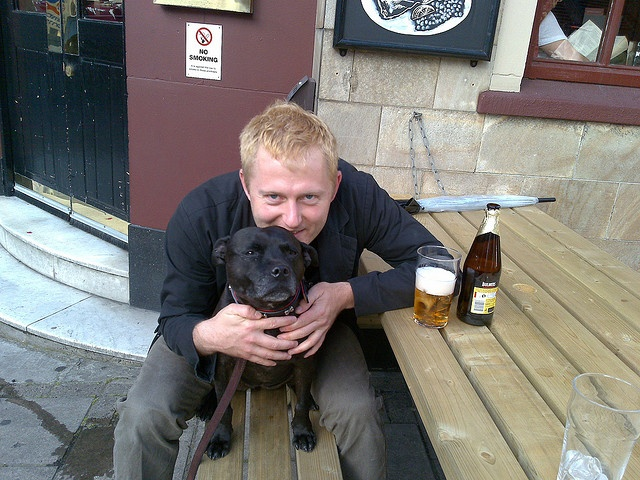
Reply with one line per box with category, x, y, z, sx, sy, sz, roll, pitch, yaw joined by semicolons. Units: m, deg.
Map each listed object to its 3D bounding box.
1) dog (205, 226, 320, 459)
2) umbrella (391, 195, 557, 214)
dog;-0.284;0.433;2.398;0.560;1.043;1.077;3;8;-6
umbrella;1.042;-0.256;3.289;1.168;0.160;0.206;-4;9;-11
